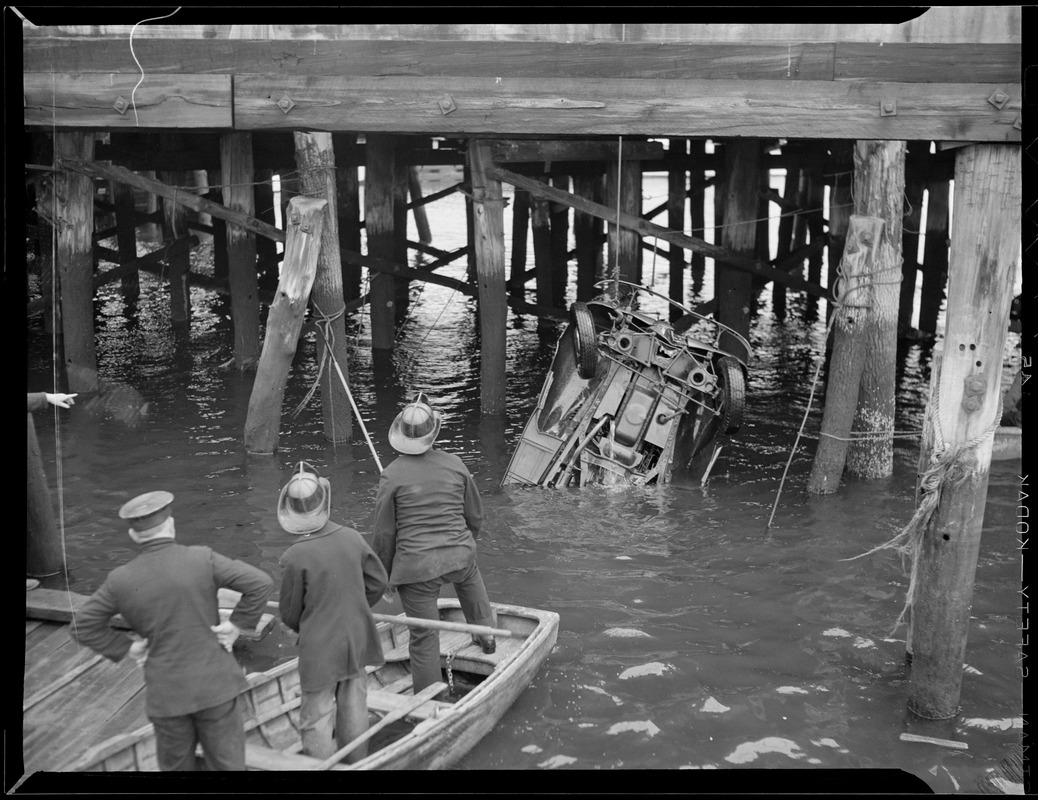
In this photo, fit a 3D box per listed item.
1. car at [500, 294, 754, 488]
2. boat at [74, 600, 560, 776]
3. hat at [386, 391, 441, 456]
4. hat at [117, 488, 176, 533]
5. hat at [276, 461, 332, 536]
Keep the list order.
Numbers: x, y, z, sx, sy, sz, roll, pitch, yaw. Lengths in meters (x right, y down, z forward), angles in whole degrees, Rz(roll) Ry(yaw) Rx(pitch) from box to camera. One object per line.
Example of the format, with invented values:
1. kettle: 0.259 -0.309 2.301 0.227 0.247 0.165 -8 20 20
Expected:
1. car: 1.493 0.104 18.227 2.157 3.118 1.629 27 10 3
2. boat: -1.146 2.713 12.522 1.689 0.585 3.218 10 16 37
3. hat: -0.963 0.146 12.842 0.498 0.317 0.653 11 42 11
4. hat: -2.972 0.920 11.340 0.487 0.145 0.520 -2 18 15
5. hat: -1.815 0.778 11.778 0.568 0.703 0.354 -4 -31 3
